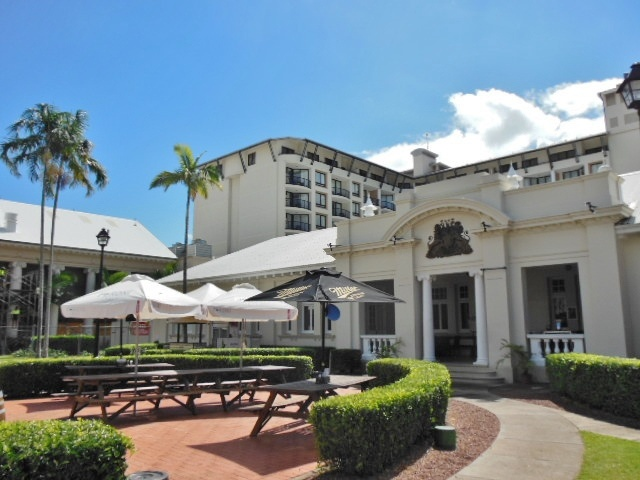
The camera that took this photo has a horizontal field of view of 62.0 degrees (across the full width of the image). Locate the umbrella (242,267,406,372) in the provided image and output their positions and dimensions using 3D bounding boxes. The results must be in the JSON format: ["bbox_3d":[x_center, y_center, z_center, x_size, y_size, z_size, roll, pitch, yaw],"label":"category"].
[{"bbox_3d":[0.307,1.271,13.457,2.852,1.982,2.893,1,1,27],"label":"umbrella"}]

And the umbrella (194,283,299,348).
[{"bbox_3d":[-2.235,2.100,16.576,2.332,1.654,2.337,1,-6,-4],"label":"umbrella"}]

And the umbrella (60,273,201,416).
[{"bbox_3d":[-5.198,2.925,15.602,3.731,2.567,3.633,0,-2,-6],"label":"umbrella"}]
